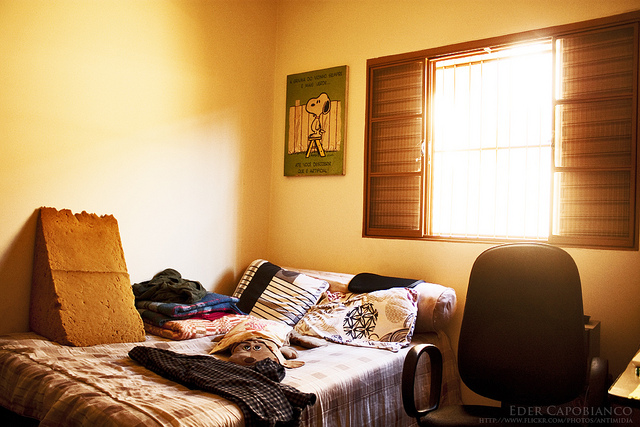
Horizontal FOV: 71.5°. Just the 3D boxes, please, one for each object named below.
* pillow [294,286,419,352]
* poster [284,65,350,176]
[{"bbox_3d":[0.280,0.704,3.441,0.577,0.190,0.582,-21,13,-29],"label":"pillow"},{"bbox_3d":[-0.026,-0.924,4.477,0.764,1.080,0.207,9,9,37],"label":"poster"}]
